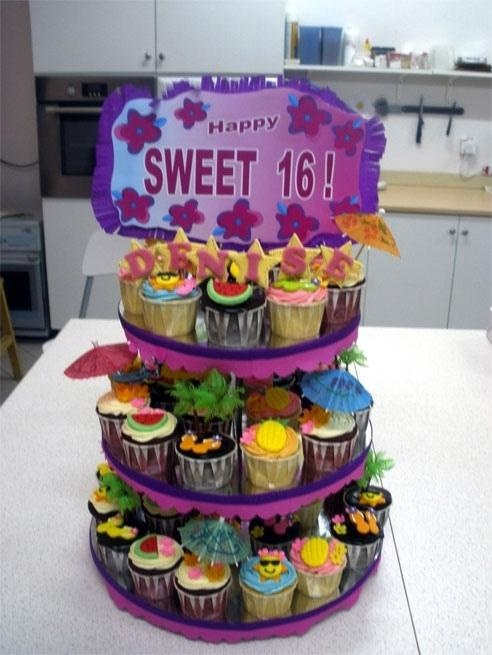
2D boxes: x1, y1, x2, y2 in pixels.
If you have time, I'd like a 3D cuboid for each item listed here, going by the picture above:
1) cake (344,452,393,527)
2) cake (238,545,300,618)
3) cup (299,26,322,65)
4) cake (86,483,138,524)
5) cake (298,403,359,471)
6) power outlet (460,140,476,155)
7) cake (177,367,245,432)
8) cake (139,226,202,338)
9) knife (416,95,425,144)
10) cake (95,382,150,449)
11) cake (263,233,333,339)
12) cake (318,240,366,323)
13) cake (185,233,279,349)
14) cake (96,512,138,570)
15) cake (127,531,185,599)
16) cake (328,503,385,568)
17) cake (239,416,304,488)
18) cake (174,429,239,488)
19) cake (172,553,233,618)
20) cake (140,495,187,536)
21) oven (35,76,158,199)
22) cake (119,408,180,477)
[{"bbox_3d":[0.289,0.390,1.224,0.092,0.187,0.101,12,11,24],"label":"cake"},{"bbox_3d":[0.045,0.503,1.048,0.087,0.128,0.100,-11,25,-25],"label":"cake"},{"bbox_3d":[0.410,-1.844,3.380,0.140,0.246,0.142,2,48,-2],"label":"cup"},{"bbox_3d":[-0.328,0.416,1.225,0.074,0.090,0.030,1,-20,-3],"label":"cake"},{"bbox_3d":[0.170,0.224,1.075,0.086,0.139,0.107,9,18,29],"label":"cake"},{"bbox_3d":[1.709,-1.386,4.007,0.124,0.117,0.031,0,18,-5],"label":"power outlet"},{"bbox_3d":[-0.075,0.137,1.041,0.118,0.151,0.136,-1,-4,-17],"label":"cake"},{"bbox_3d":[-0.140,-0.093,0.989,0.122,0.271,0.154,2,11,0],"label":"cake"},{"bbox_3d":[1.318,-1.557,3.937,0.059,0.308,0.012,9,8,32],"label":"knife"},{"bbox_3d":[-0.266,0.165,1.165,0.098,0.173,0.129,-5,17,-13],"label":"cake"},{"bbox_3d":[0.097,-0.083,0.993,0.096,0.192,0.120,-8,26,-7],"label":"cake"},{"bbox_3d":[0.191,-0.099,1.112,0.101,0.184,0.132,0,12,-1],"label":"cake"},{"bbox_3d":[-0.018,-0.055,0.996,0.114,0.201,0.130,4,-4,-28],"label":"cake"},{"bbox_3d":[-0.289,0.503,1.168,0.090,0.095,0.103,-21,52,23],"label":"cake"},{"bbox_3d":[-0.193,0.496,1.100,0.097,0.120,0.117,-3,19,-29],"label":"cake"},{"bbox_3d":[0.262,0.460,1.166,0.087,0.134,0.096,8,7,44],"label":"cake"},{"bbox_3d":[0.051,0.235,1.012,0.094,0.120,0.116,0,20,-2],"label":"cake"},{"bbox_3d":[-0.080,0.258,1.024,0.126,0.093,0.150,1,24,-2],"label":"cake"},{"bbox_3d":[-0.087,0.517,1.041,0.076,0.115,0.087,1,4,12],"label":"cake"},{"bbox_3d":[-0.187,0.439,1.223,0.070,0.094,0.087,3,19,21],"label":"cake"},{"bbox_3d":[-1.019,-1.453,3.549,0.749,0.888,0.682,-7,54,-20],"label":"oven"},{"bbox_3d":[-0.194,0.227,1.038,0.089,0.112,0.110,5,16,8],"label":"cake"}]
